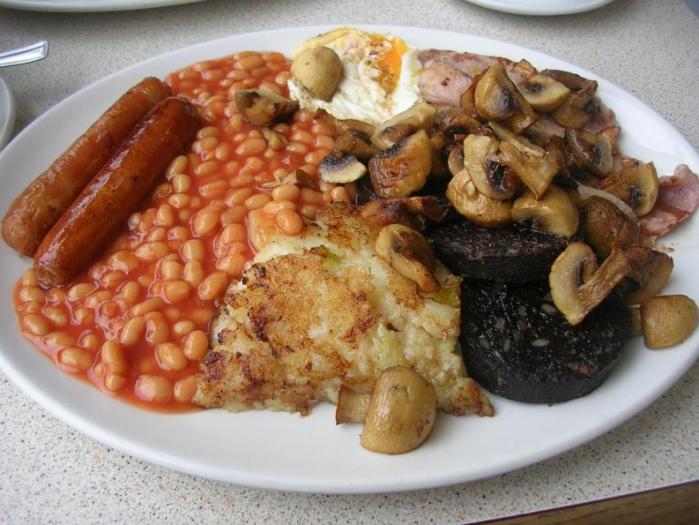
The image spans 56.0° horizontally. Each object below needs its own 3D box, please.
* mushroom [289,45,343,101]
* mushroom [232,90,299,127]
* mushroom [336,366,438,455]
[{"bbox_3d":[-0.162,-0.953,3.497,0.316,0.250,0.251,-16,37,-19],"label":"mushroom"},{"bbox_3d":[-0.440,-0.783,3.362,0.299,0.127,0.329,12,24,5],"label":"mushroom"},{"bbox_3d":[0.158,0.504,2.439,0.401,0.281,0.090,16,-9,16],"label":"mushroom"}]
